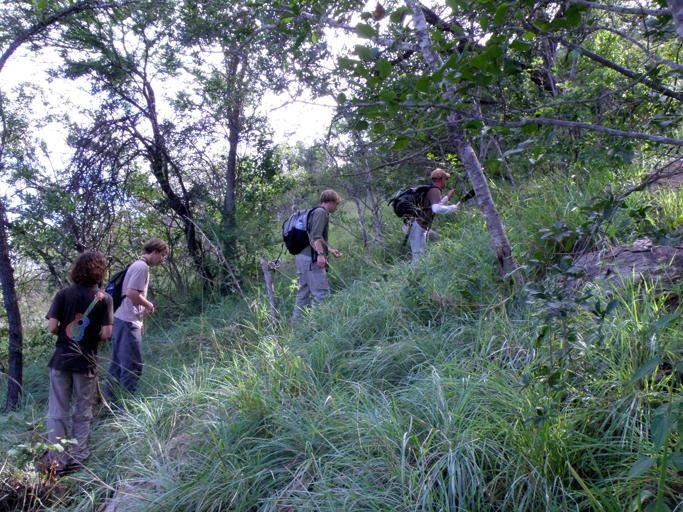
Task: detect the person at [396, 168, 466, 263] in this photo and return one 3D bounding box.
[{"bbox_3d":[1.231,-0.407,7.943,0.883,1.828,0.708,5,12,-6],"label":"person"}]

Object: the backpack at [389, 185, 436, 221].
[{"bbox_3d":[1.022,-0.838,7.875,0.520,0.619,0.422,-14,17,6],"label":"backpack"}]

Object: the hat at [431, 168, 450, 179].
[{"bbox_3d":[1.460,-1.205,7.588,0.152,0.100,0.211,-1,0,41],"label":"hat"}]
